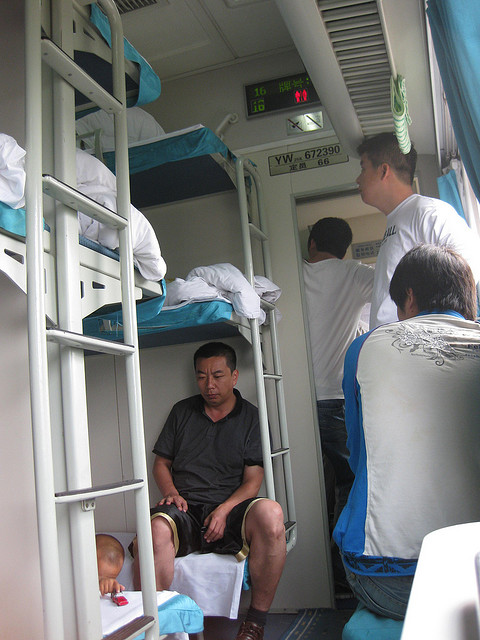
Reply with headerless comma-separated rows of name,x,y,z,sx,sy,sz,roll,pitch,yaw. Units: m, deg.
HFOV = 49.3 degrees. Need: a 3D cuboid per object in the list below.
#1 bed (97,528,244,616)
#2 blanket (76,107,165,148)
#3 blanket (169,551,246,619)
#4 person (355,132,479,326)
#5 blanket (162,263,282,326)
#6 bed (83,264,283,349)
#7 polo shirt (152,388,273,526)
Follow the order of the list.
bed,-0.364,1.428,2.771,0.693,0.199,0.479,14,16,4
blanket,-0.687,-1.063,3.057,0.466,0.145,0.352,-10,9,-32
blanket,-0.236,1.418,2.801,0.515,0.285,0.520,-3,-25,17
person,1.014,-0.519,2.927,0.490,1.258,0.933,-8,-9,10
blanket,-0.057,-0.157,3.137,0.391,0.378,0.913,-10,-6,32
bed,-0.280,-0.019,2.955,0.813,0.333,0.670,-15,17,-27
polo shirt,-0.174,0.829,3.349,0.601,0.701,0.540,-4,-6,-34
